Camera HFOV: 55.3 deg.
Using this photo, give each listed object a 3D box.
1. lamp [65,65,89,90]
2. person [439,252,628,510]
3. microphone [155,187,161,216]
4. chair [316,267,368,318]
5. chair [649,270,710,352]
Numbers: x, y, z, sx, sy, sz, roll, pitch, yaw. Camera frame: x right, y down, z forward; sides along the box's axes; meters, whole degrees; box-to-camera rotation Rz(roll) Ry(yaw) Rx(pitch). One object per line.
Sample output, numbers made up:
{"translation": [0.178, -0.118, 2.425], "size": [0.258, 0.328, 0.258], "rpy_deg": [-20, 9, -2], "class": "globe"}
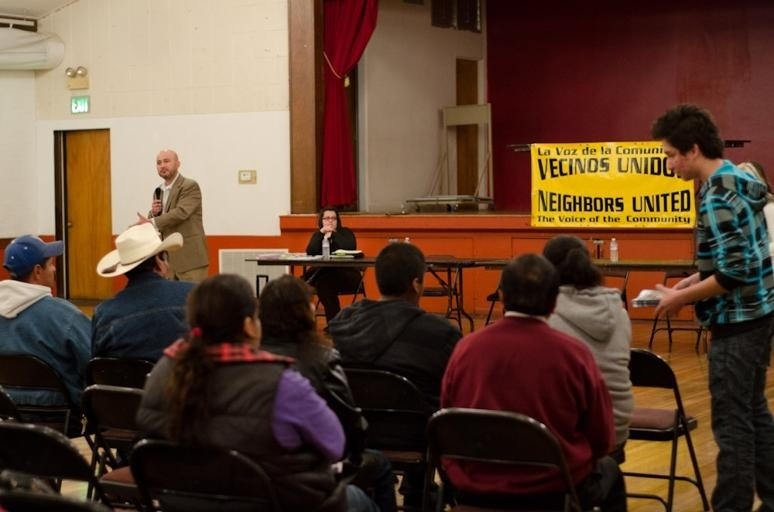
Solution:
{"translation": [-4.527, -2.612, 10.814], "size": [0.352, 0.250, 0.054], "rpy_deg": [-1, 1, 14], "class": "lamp"}
{"translation": [0.640, 0.596, 3.290], "size": [0.804, 1.207, 0.350], "rpy_deg": [-1, 1, 4], "class": "person"}
{"translation": [-2.392, -0.570, 7.730], "size": [0.073, 0.177, 0.418], "rpy_deg": [-1, 1, -16], "class": "microphone"}
{"translation": [-0.572, 0.378, 8.520], "size": [0.449, 0.903, 0.602], "rpy_deg": [-1, 5, -25], "class": "chair"}
{"translation": [3.235, 0.561, 8.253], "size": [0.427, 0.906, 0.478], "rpy_deg": [-3, -4, 39], "class": "chair"}
